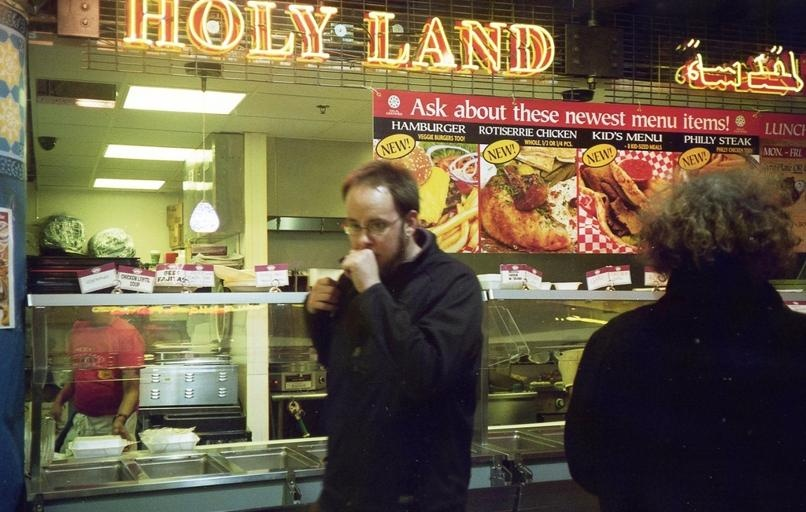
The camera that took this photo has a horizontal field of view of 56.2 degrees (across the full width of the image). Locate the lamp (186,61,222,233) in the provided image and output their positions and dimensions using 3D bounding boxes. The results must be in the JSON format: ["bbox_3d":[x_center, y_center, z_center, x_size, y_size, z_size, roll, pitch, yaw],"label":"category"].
[{"bbox_3d":[-1.541,-0.822,5.969,0.309,1.303,0.324,2,3,35],"label":"lamp"}]

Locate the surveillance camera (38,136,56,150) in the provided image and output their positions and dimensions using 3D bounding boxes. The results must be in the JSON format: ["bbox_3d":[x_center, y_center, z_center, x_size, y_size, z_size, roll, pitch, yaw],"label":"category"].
[{"bbox_3d":[-3.690,-1.207,7.879,0.152,0.032,0.129,8,-33,-16],"label":"surveillance camera"}]

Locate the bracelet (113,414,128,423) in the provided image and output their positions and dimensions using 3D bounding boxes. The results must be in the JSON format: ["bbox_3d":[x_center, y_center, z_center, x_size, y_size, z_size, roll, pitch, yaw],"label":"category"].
[{"bbox_3d":[-1.633,0.936,4.377,0.076,0.037,0.047,-2,-10,44],"label":"bracelet"}]
